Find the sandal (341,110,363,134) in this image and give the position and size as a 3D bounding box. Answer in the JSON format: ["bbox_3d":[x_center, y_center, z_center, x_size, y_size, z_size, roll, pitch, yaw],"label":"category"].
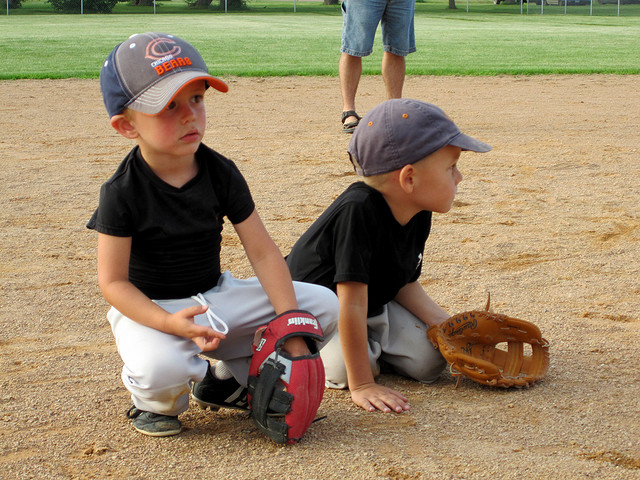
[{"bbox_3d":[0.250,-0.935,6.269,0.125,0.104,0.308,-2,6,-7],"label":"sandal"}]

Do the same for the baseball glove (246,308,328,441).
[{"bbox_3d":[-0.122,0.481,2.843,0.278,0.435,0.271,-2,18,-3],"label":"baseball glove"}]

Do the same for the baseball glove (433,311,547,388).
[{"bbox_3d":[0.701,0.448,3.181,0.430,0.151,0.269,14,48,-9],"label":"baseball glove"}]

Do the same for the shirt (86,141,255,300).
[{"bbox_3d":[-0.527,-0.055,2.907,0.574,0.562,0.215,-4,19,-12],"label":"shirt"}]
